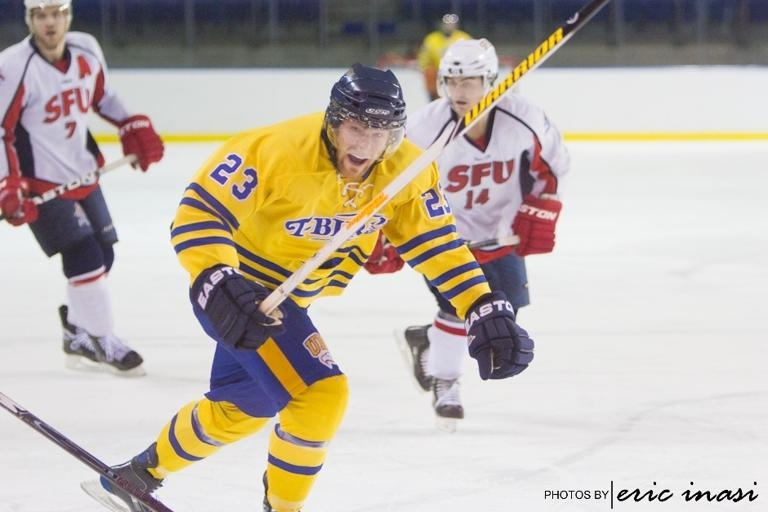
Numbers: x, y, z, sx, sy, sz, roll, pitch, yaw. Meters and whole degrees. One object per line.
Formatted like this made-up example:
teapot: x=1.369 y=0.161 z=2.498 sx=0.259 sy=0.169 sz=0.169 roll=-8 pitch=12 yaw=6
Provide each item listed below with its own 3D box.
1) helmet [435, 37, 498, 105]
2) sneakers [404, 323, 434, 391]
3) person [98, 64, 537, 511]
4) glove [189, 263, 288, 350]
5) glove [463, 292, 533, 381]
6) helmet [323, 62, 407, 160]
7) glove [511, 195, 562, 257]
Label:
helmet: x=0.437 y=-1.001 z=5.397 sx=0.377 sy=0.315 sz=0.295 roll=-15 pitch=13 yaw=-42
sneakers: x=0.201 y=0.560 z=5.633 sx=0.138 sy=0.346 sz=0.167 roll=-18 pitch=-3 yaw=-29
person: x=-0.325 y=0.211 z=4.309 sx=1.675 sy=2.002 sz=0.603 roll=-2 pitch=16 yaw=-14
glove: x=-0.635 y=0.194 z=4.135 sx=0.390 sy=0.285 sz=0.181 roll=36 pitch=17 yaw=13
glove: x=0.496 y=0.347 z=4.352 sx=0.334 sy=0.323 sz=0.167 roll=-14 pitch=-17 yaw=8
helmet: x=-0.025 y=-0.639 z=4.408 sx=0.348 sy=0.367 sz=0.404 roll=12 pitch=19 yaw=-24
glove: x=0.816 y=-0.160 z=5.482 sx=0.297 sy=0.294 sz=0.132 roll=11 pitch=2 yaw=8
